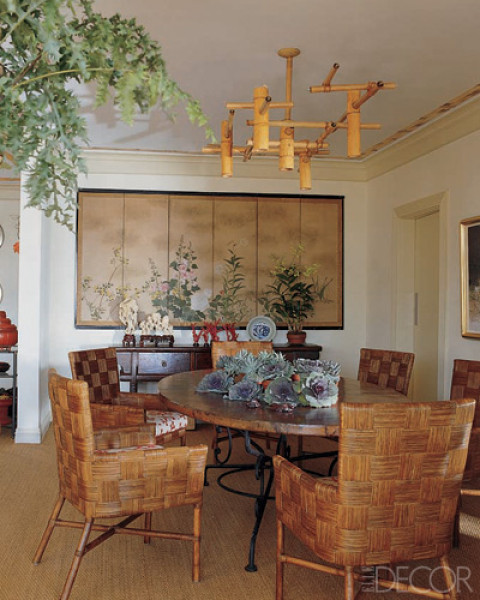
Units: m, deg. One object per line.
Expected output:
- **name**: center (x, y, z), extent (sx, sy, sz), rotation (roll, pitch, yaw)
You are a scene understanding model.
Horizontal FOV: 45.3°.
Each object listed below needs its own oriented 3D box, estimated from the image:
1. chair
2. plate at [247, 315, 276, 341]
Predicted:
- **chair**: center (-0.121, 0.644, 2.629), extent (1.426, 0.688, 1.052), rotation (-1, 2, -18)
- **plate**: center (0.192, 0.270, 5.333), extent (0.256, 0.218, 0.318), rotation (1, 2, 0)
